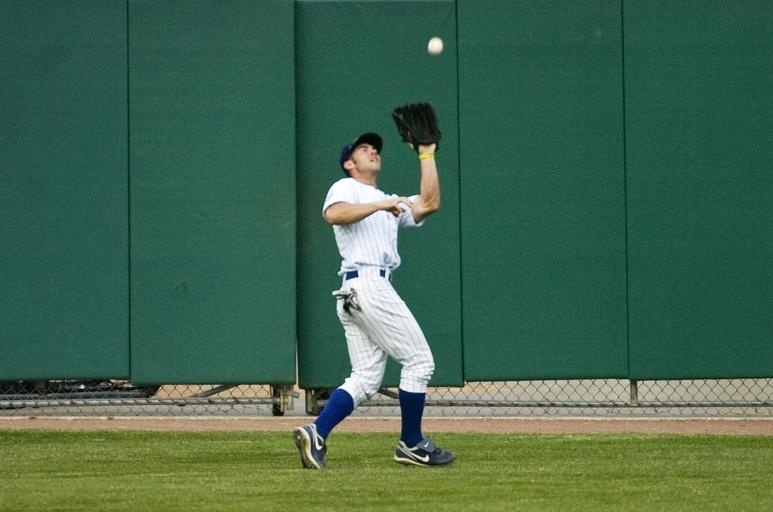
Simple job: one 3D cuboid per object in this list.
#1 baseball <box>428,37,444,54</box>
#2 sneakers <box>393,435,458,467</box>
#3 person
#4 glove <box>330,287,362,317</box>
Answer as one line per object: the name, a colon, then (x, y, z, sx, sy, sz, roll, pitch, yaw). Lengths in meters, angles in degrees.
baseball: (0.493, -2.131, 14.353, 0.166, 0.173, 0.076, 0, 8, -2)
sneakers: (0.348, 1.697, 12.598, 0.529, 0.261, 0.221, 2, -4, -3)
person: (-0.079, 0.352, 12.629, 1.268, 2.854, 0.817, 0, 8, -1)
glove: (-0.351, 0.383, 12.597, 0.223, 0.228, 0.091, 11, -55, -36)
